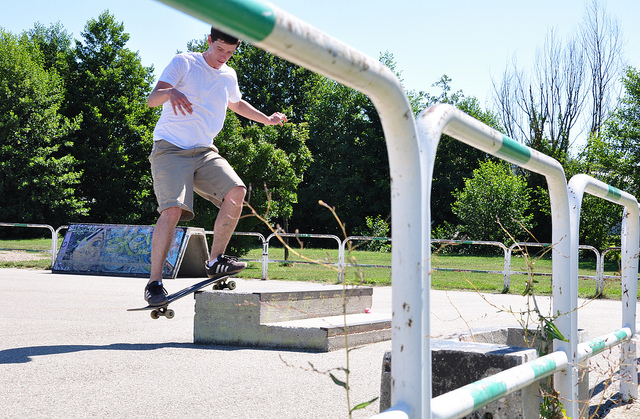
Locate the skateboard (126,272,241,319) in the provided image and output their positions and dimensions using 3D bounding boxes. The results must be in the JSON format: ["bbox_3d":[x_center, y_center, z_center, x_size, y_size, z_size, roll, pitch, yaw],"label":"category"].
[{"bbox_3d":[-1.729,1.085,7.580,1.573,0.252,0.375,-21,7,-35],"label":"skateboard"}]

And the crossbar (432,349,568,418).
[{"bbox_3d":[1.215,1.131,3.909,1.179,0.177,0.187,-17,17,-41],"label":"crossbar"}]

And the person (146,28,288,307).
[{"bbox_3d":[-1.246,-0.435,6.228,1.082,2.863,0.825,5,-5,-17],"label":"person"}]
